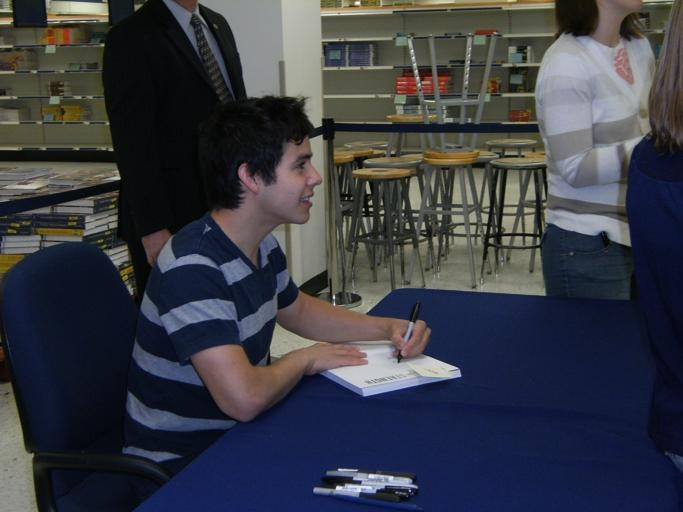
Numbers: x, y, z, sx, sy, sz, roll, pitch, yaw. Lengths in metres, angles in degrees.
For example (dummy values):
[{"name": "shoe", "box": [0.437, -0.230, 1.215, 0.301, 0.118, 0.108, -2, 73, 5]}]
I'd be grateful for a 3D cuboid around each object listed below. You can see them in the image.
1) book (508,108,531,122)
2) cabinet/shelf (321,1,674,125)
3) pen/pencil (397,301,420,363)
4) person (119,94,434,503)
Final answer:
[{"name": "book", "box": [3.021, -2.355, 9.432, 0.297, 0.190, 0.244, -1, 13, 1]}, {"name": "cabinet/shelf", "box": [1.368, -2.154, 5.993, 3.683, 1.876, 0.525, 0, 3, 12]}, {"name": "pen/pencil", "box": [0.160, 0.184, 1.332, 0.015, 0.139, 0.016, 14, -30, 14]}, {"name": "person", "box": [-0.242, -0.096, 1.792, 0.857, 1.580, 0.674, 1, 16, 0]}]
